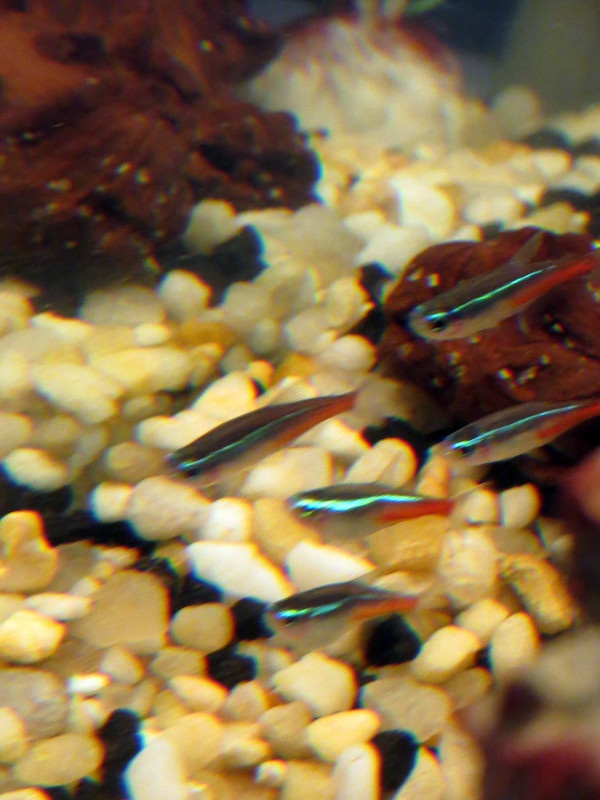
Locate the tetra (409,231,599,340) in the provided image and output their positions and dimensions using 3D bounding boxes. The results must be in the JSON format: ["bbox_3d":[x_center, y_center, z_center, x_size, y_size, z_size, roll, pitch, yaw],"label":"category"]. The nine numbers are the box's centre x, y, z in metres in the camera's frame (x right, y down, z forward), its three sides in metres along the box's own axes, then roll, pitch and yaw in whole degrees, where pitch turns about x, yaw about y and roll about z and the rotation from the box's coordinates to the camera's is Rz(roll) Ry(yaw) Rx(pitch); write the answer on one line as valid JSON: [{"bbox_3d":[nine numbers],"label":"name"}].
[{"bbox_3d":[0.207,-0.109,0.856,0.227,0.076,0.028,-20,38,-17],"label":"tetra"}]

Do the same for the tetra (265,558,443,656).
[{"bbox_3d":[0.037,0.171,0.704,0.187,0.058,0.036,-2,12,-29],"label":"tetra"}]

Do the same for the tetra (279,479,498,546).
[{"bbox_3d":[0.067,0.101,0.755,0.209,0.063,0.034,2,15,-32],"label":"tetra"}]

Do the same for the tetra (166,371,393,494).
[{"bbox_3d":[-0.020,0.028,0.780,0.252,0.074,0.046,-22,39,-32],"label":"tetra"}]
